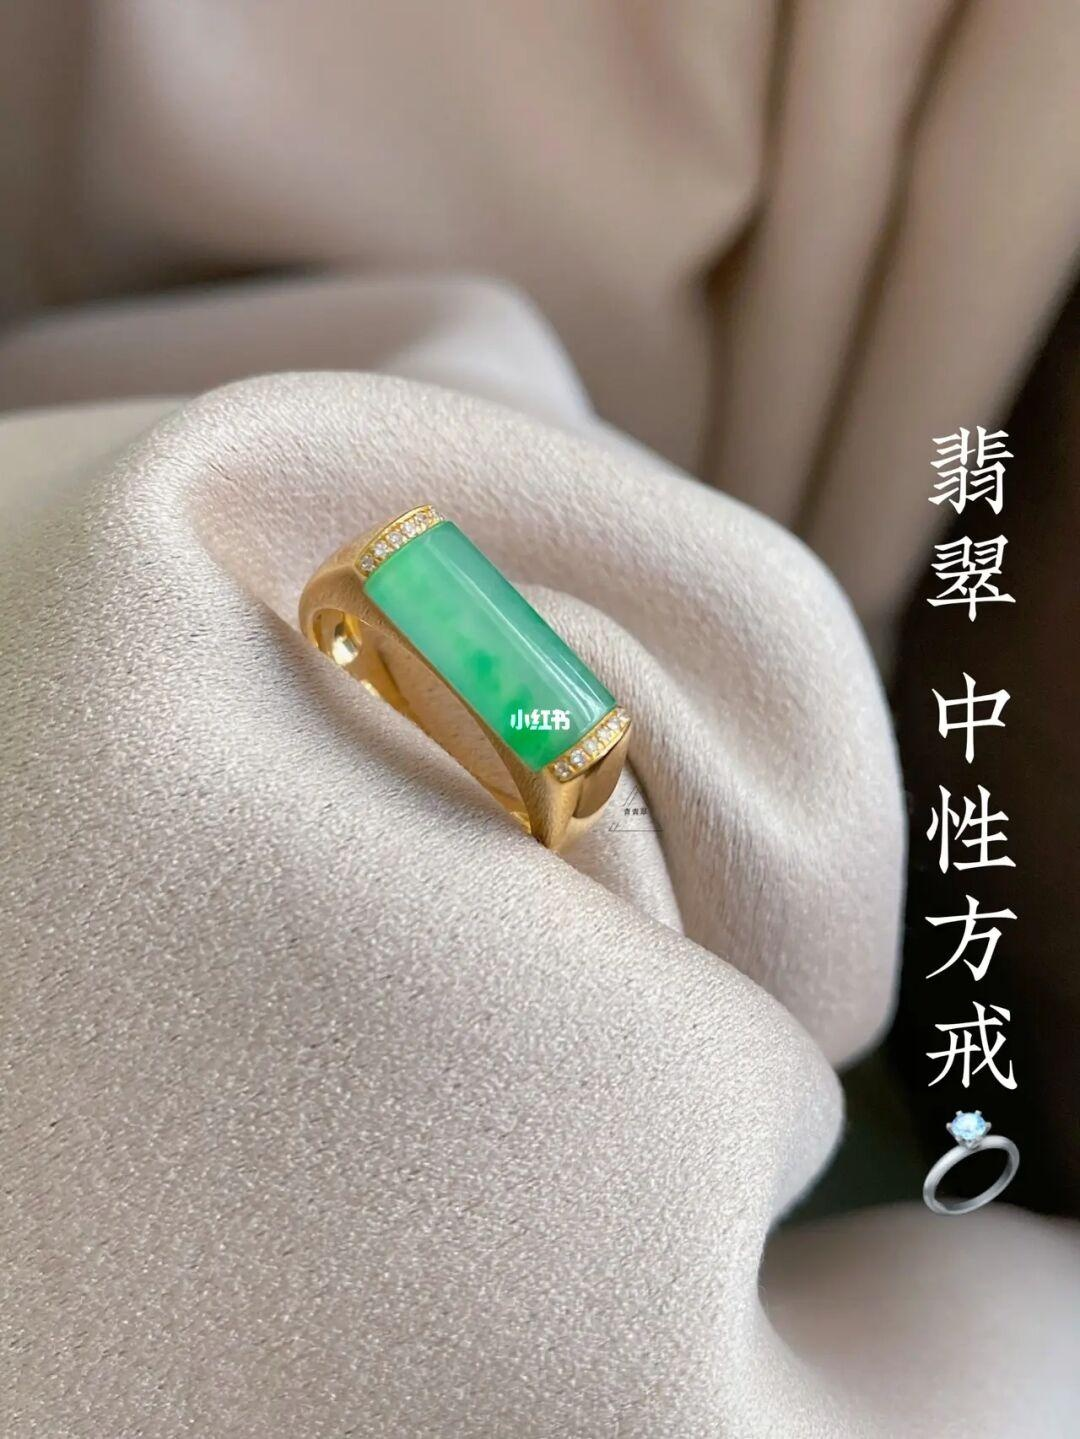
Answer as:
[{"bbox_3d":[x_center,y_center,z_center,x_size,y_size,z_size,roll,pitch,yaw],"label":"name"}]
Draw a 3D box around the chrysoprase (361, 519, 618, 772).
[{"bbox_3d":[-0.020,-0.031,0.562,0.047,0.025,0.111,-40,78,-12],"label":"chrysoprase"}]
